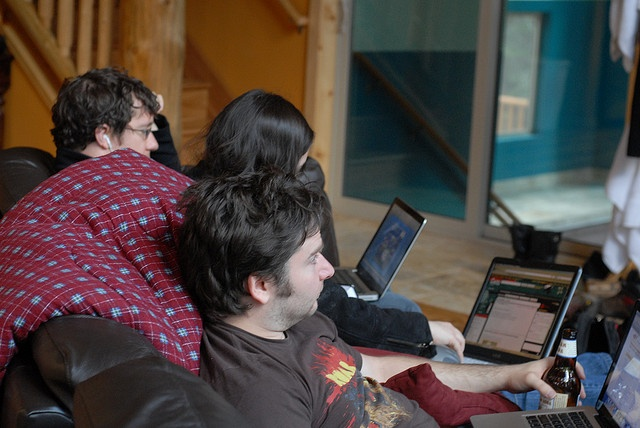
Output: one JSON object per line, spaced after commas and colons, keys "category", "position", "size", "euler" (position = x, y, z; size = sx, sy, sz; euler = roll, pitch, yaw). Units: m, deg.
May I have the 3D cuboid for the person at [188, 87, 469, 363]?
{"category": "person", "position": [0.064, -0.038, 2.573], "size": [1.154, 1.285, 0.854], "euler": [-11, 9, -4]}

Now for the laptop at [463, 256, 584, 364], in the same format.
{"category": "laptop", "position": [0.883, 0.442, 2.182], "size": [0.466, 0.391, 0.348], "euler": [10, -12, 40]}

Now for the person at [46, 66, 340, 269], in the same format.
{"category": "person", "position": [-0.555, -0.212, 2.188], "size": [1.100, 0.446, 0.656], "euler": [7, 16, 2]}

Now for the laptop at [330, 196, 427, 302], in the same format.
{"category": "laptop", "position": [0.310, 0.195, 2.588], "size": [0.489, 0.365, 0.467], "euler": [1, 18, -15]}
